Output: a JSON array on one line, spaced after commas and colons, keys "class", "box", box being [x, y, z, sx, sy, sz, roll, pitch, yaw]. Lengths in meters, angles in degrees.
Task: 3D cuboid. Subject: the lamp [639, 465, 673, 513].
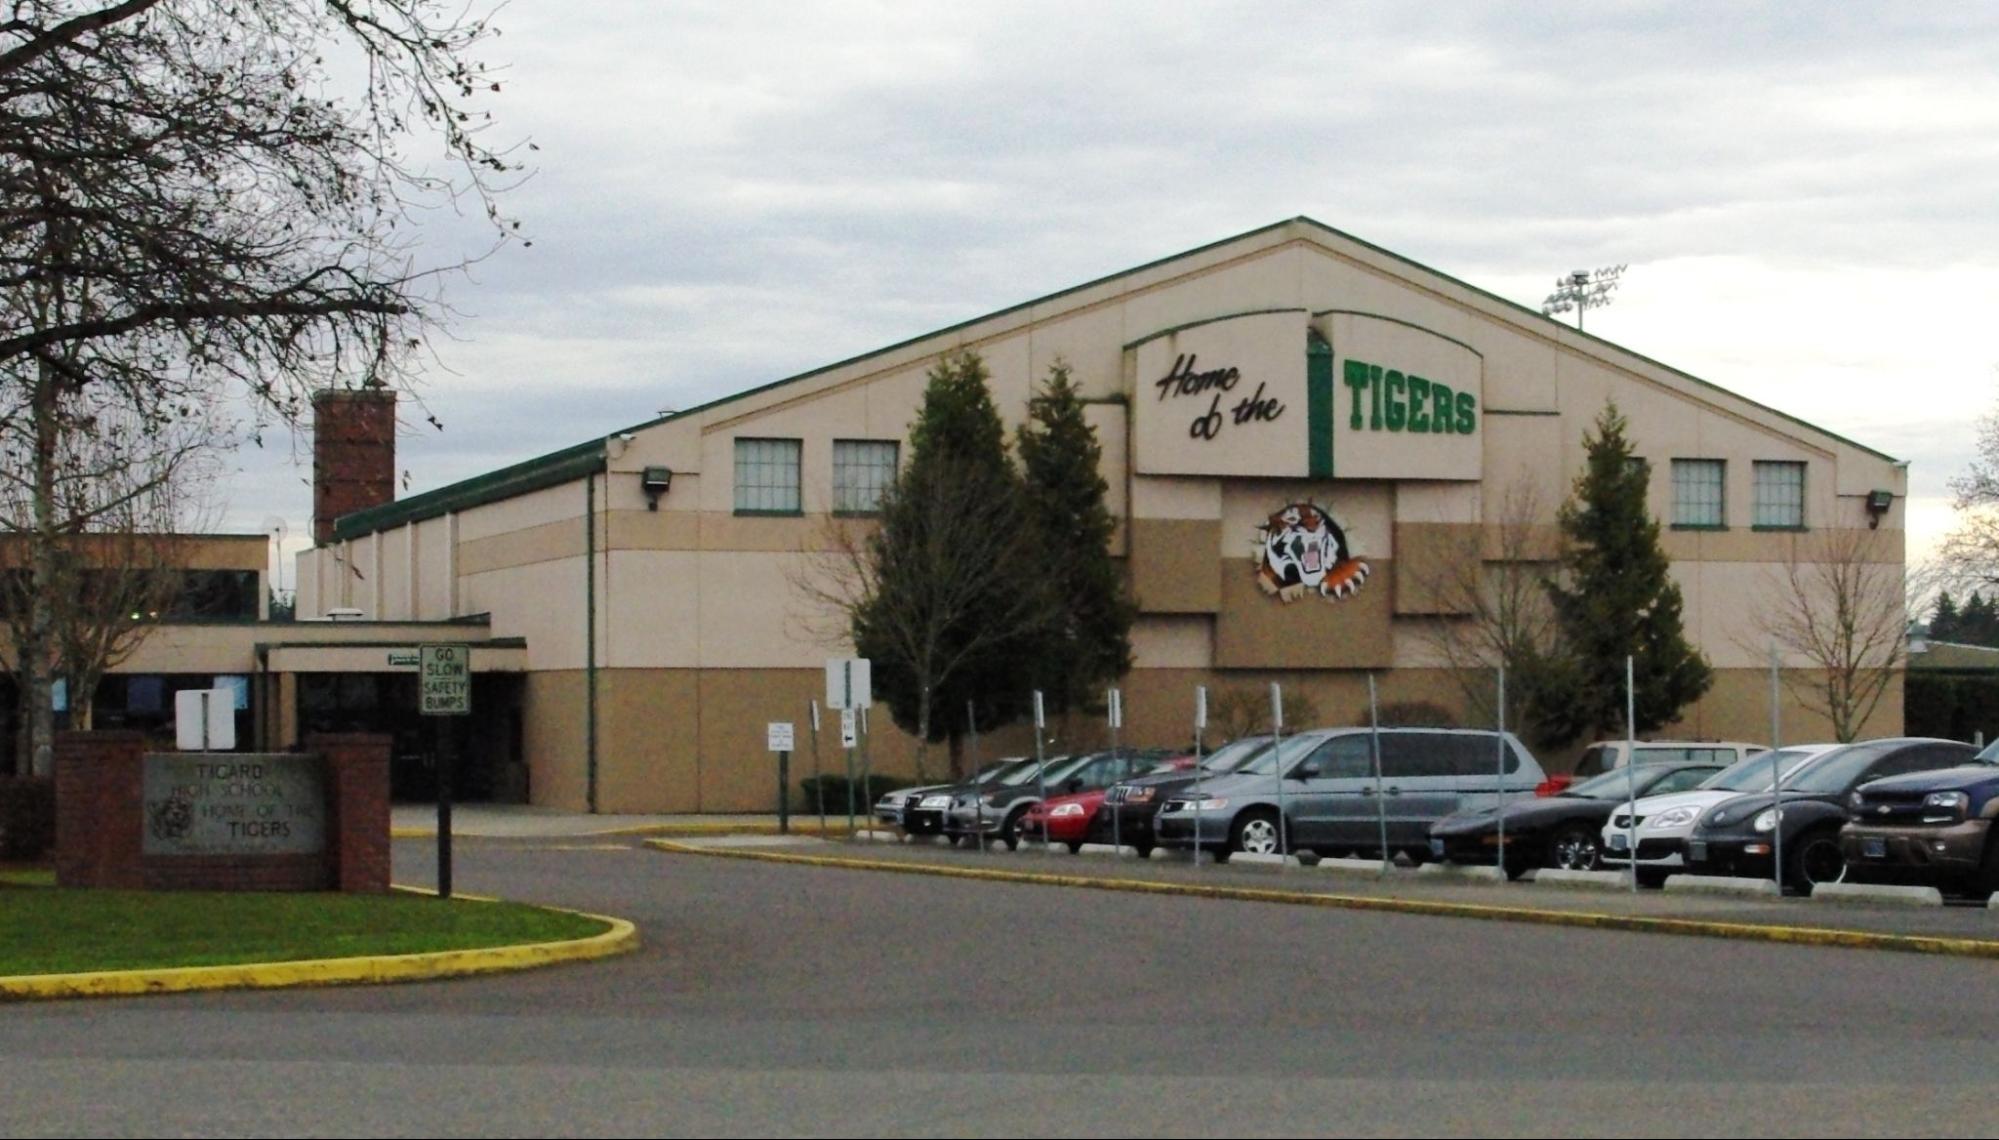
[{"class": "lamp", "box": [-8.457, -1.958, 77.934, 0.720, 1.065, 0.696, 0, -6, -5]}]

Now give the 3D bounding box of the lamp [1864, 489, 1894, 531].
[{"class": "lamp", "box": [24.085, -1.551, 86.126, 0.745, 1.071, 0.428, 2, -6, -20]}]
